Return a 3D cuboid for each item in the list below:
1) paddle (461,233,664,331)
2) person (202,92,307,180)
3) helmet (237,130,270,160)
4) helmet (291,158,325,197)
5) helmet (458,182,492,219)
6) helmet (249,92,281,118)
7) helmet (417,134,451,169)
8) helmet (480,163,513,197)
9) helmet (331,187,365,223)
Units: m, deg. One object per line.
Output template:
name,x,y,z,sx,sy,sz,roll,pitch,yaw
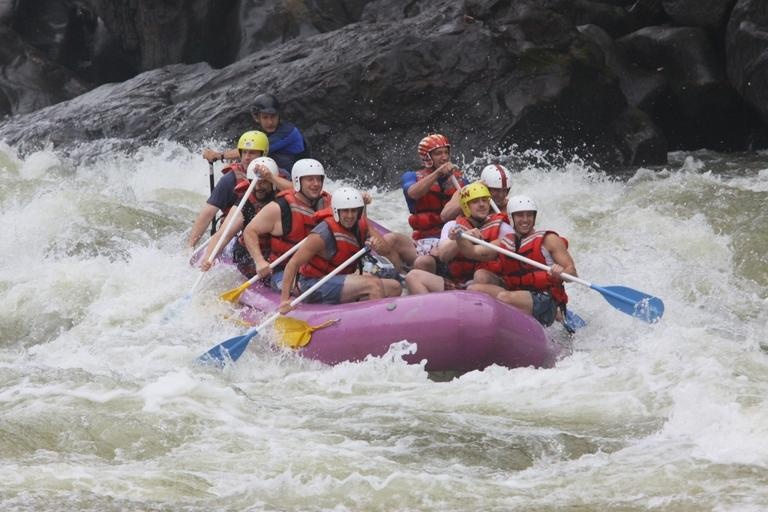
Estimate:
paddle,2.436,0.404,15.486,3.518,0.460,0.235,19,-9,-2
person,-2.054,-1.922,18.053,1.294,1.614,1.044,20,48,7
helmet,-1.906,-1.658,16.436,0.367,0.317,0.416,5,21,14
helmet,-1.004,-1.100,15.293,0.424,0.352,0.480,-2,19,-26
helmet,1.258,-0.817,15.654,0.381,0.417,0.517,-5,-7,-38
helmet,-1.809,-2.299,17.036,0.380,0.339,0.333,5,18,-19
helmet,0.730,-1.593,16.535,0.563,0.472,0.412,-7,2,38
helmet,1.628,-1.150,16.011,0.323,0.333,0.407,-2,28,-16
helmet,-0.505,-0.725,14.992,0.412,0.349,0.486,-7,10,-24
